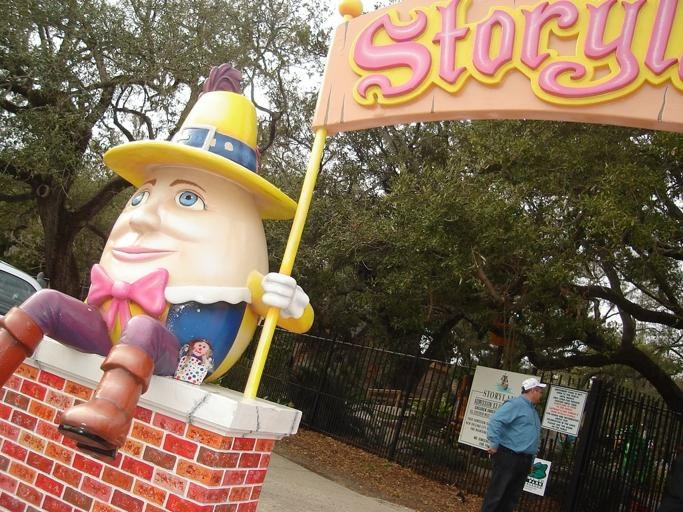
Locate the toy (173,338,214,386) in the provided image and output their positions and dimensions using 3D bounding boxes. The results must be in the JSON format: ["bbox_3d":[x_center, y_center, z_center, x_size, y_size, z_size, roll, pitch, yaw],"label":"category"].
[{"bbox_3d":[-1.079,0.783,3.724,0.266,0.333,0.130,14,-11,-19],"label":"toy"}]

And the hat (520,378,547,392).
[{"bbox_3d":[2.305,1.518,5.876,0.302,0.141,0.209,1,-3,-14],"label":"hat"}]
